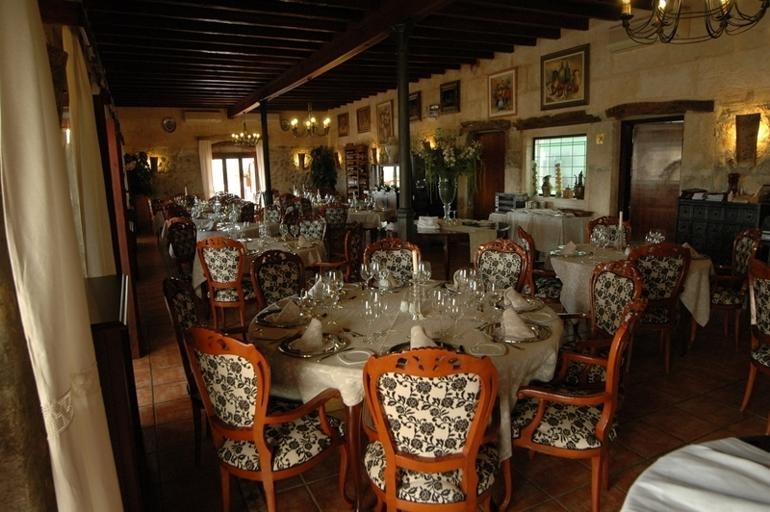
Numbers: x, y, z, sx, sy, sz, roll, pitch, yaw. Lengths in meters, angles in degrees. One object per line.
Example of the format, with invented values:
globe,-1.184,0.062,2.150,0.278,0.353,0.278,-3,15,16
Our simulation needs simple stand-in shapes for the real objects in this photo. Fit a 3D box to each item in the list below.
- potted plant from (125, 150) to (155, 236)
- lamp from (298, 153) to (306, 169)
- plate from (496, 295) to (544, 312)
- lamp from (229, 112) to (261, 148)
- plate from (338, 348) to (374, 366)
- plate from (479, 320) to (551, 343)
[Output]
potted plant,-6.252,-1.680,14.093,0.575,1.955,1.072,-6,12,-20
lamp,-2.507,-2.879,16.644,0.222,0.454,0.062,-9,13,-31
plate,0.925,0.303,3.758,0.326,0.108,0.252,-1,10,6
lamp,-3.965,-3.489,15.690,0.806,1.201,0.814,4,32,2
plate,-0.180,0.579,3.123,0.186,0.039,0.178,0,10,12
plate,0.798,0.461,3.346,0.420,0.053,0.274,-2,10,4
